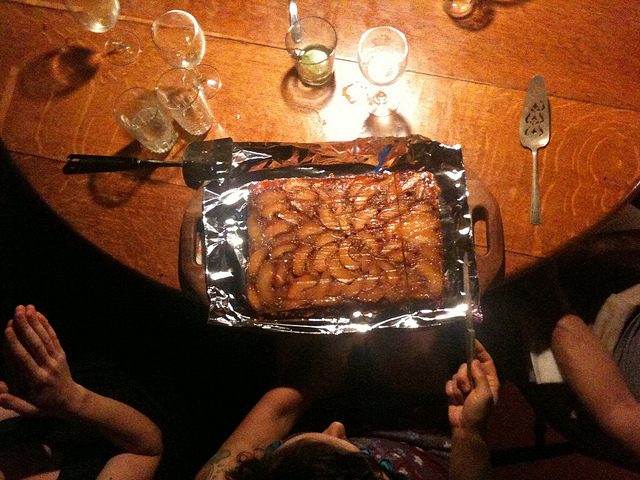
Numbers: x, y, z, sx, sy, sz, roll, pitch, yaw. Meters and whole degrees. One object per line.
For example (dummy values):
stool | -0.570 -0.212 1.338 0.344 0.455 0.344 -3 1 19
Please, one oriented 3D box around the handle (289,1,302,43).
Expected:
handle | -0.157 -1.368 3.632 0.062 0.276 0.065 -8 -5 7

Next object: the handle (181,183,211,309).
handle | -0.768 0.013 3.491 0.302 0.535 0.055 4 -6 -16

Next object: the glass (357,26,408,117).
glass | 0.373 -1.052 3.592 0.311 0.518 0.178 10 3 5

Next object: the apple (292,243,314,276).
apple | -0.112 0.116 3.550 0.102 0.176 0.044 10 3 -4

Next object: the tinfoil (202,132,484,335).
tinfoil | 0.088 -0.058 3.865 1.745 1.242 1.273 -1 40 -6

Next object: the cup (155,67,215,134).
cup | -0.896 -0.877 3.680 0.353 0.375 0.323 -6 -34 -4

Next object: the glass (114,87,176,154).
glass | -1.077 -0.724 3.550 0.236 0.209 0.290 55 -2 37

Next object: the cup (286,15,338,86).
cup | -0.049 -1.170 3.656 0.350 0.409 0.301 0 -5 1
